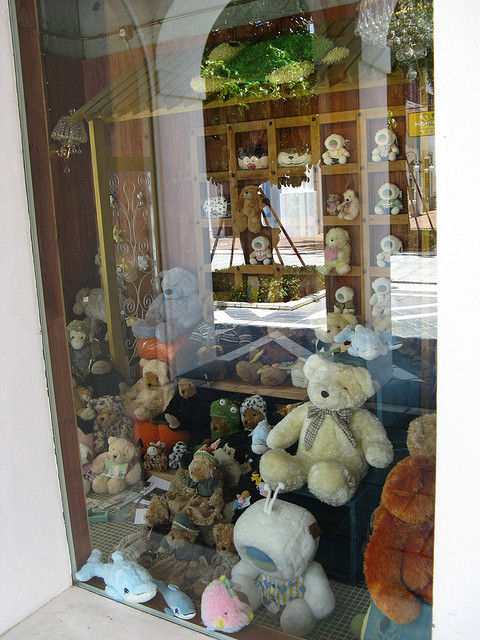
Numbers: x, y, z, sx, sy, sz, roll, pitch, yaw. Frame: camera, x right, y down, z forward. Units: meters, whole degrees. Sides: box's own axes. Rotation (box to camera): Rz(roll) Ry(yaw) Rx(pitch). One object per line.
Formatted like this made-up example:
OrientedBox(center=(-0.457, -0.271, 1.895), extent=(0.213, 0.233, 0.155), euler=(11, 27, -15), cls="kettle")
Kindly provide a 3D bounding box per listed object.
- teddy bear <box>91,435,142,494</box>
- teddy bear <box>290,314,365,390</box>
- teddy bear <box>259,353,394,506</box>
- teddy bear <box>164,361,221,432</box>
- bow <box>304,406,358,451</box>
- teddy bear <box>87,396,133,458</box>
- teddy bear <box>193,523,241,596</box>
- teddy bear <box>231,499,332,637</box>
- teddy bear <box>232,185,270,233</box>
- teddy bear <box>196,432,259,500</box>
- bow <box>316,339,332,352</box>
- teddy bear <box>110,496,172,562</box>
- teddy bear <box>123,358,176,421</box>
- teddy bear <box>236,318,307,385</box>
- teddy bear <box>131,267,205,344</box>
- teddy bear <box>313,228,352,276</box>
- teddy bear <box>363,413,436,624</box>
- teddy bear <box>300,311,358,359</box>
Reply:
OrientedBox(center=(-0.431, 0.505, 1.799), extent=(0.155, 0.182, 0.167), euler=(11, -6, -1), cls="teddy bear")
OrientedBox(center=(0.231, 0.070, 1.405), extent=(0.173, 0.224, 0.159), euler=(6, 26, 2), cls="teddy bear")
OrientedBox(center=(0.219, 0.291, 1.369), extent=(0.354, 0.346, 0.304), euler=(-5, 11, 1), cls="teddy bear")
OrientedBox(center=(-0.152, 0.264, 1.666), extent=(0.100, 0.219, 0.241), euler=(-16, 16, -35), cls="teddy bear")
OrientedBox(center=(0.253, 0.289, 1.390), extent=(0.151, 0.140, 0.015), euler=(0, -3, 17), cls="bow")
OrientedBox(center=(-0.458, 0.375, 1.831), extent=(0.156, 0.221, 0.128), euler=(-3, 13, 5), cls="teddy bear")
OrientedBox(center=(-0.066, 0.628, 1.401), extent=(0.132, 0.091, 0.219), euler=(-7, 13, -3), cls="teddy bear")
OrientedBox(center=(0.114, 0.628, 1.289), extent=(0.180, 0.266, 0.267), euler=(-11, 15, -40), cls="teddy bear")
OrientedBox(center=(0.032, -0.347, 1.579), extent=(0.121, 0.135, 0.059), euler=(5, 5, 27), cls="teddy bear")
OrientedBox(center=(-0.025, 0.414, 1.503), extent=(0.050, 0.183, 0.193), euler=(-4, 1, -40), cls="teddy bear")
OrientedBox(center=(0.228, 0.065, 1.392), extent=(0.030, 0.029, 0.030), euler=(4, -5, -38), cls="bow")
OrientedBox(center=(-0.294, 0.641, 1.613), extent=(0.240, 0.082, 0.165), euler=(-31, 16, -32), cls="teddy bear")
OrientedBox(center=(-0.322, 0.256, 1.834), extent=(0.207, 0.246, 0.182), euler=(2, 28, 1), cls="teddy bear")
OrientedBox(center=(0.110, 0.067, 1.522), extent=(0.197, 0.177, 0.156), euler=(7, 17, 28), cls="teddy bear")
OrientedBox(center=(-0.218, -0.062, 1.822), extent=(0.229, 0.258, 0.214), euler=(6, 17, 23), cls="teddy bear")
OrientedBox(center=(0.248, -0.182, 1.351), extent=(0.099, 0.116, 0.105), euler=(-23, 23, -27), cls="teddy bear")
OrientedBox(center=(0.317, 0.392, 1.024), extent=(0.094, 0.492, 0.249), euler=(-7, 13, -4), cls="teddy bear")
OrientedBox(center=(0.240, 0.042, 1.358), extent=(0.062, 0.133, 0.184), euler=(-16, 17, -36), cls="teddy bear")
